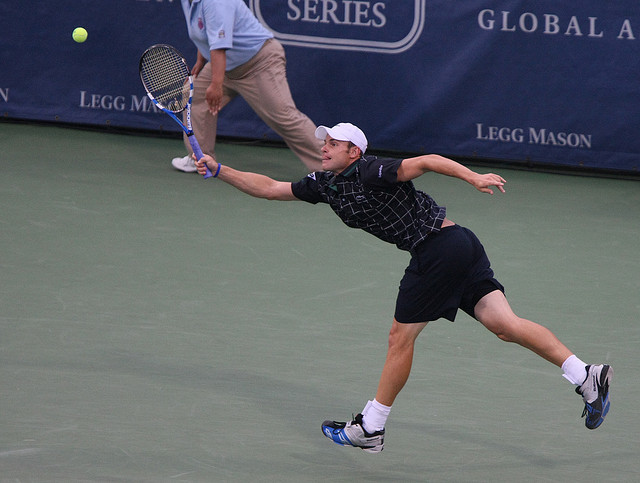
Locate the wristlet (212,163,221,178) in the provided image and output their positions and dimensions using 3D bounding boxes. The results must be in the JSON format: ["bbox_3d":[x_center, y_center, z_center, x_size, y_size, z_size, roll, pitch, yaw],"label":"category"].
[{"bbox_3d":[-0.626,-0.437,4.520,0.021,0.074,0.078,24,34,2],"label":"wristlet"}]

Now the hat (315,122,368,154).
[{"bbox_3d":[0.154,-0.626,4.208,0.285,0.128,0.186,24,0,-18],"label":"hat"}]

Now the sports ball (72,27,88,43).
[{"bbox_3d":[-2.746,-2.365,8.454,0.167,0.174,0.459,0,16,-18],"label":"sports ball"}]

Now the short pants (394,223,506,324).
[{"bbox_3d":[0.734,0.209,4.292,0.725,0.534,0.365,-14,14,-13],"label":"short pants"}]
